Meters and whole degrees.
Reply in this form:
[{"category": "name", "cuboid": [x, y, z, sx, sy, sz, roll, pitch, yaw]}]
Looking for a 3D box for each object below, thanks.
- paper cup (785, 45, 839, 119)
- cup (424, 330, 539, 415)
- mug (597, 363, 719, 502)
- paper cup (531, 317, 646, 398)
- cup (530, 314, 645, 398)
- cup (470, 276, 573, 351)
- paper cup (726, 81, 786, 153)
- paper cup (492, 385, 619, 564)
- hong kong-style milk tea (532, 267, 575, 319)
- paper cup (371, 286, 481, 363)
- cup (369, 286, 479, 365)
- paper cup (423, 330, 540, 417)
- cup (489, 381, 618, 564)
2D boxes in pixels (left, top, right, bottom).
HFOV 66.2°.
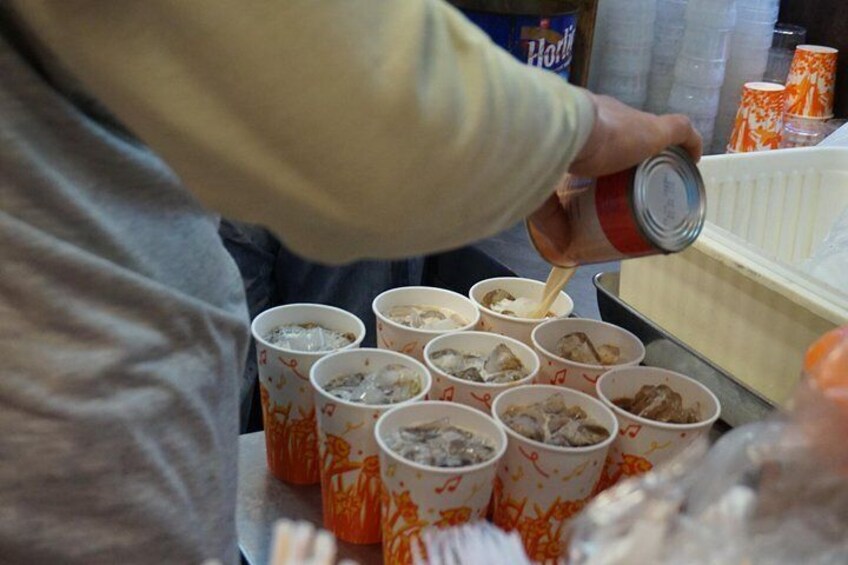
[{"category": "paper cup", "cuboid": [0.925, -0.474, 1.524, 0.114, 0.132, 0.127, 8, 29, 33]}, {"category": "cup", "cuboid": [0.088, 0.102, 0.924, 0.122, 0.097, 0.127, 2, 29, -1]}, {"category": "mug", "cuboid": [0.297, 0.174, 0.933, 0.168, 0.139, 0.172, -17, 34, -40]}, {"category": "paper cup", "cuboid": [0.252, 0.103, 0.997, 0.131, 0.101, 0.132, 2, 30, -1]}, {"category": "cup", "cuboid": [0.252, 0.101, 1.000, 0.131, 0.100, 0.132, 2, 30, -1]}, {"category": "cup", "cuboid": [0.164, 0.037, 1.108, 0.127, 0.101, 0.133, 1, 29, -1]}, {"category": "paper cup", "cuboid": [0.764, -0.369, 1.479, 0.101, 0.138, 0.092, -4, 31, 2]}, {"category": "paper cup", "cuboid": [0.141, 0.255, 0.945, 0.202, 0.243, 0.199, 4, 26, -2]}, {"category": "hong kong-style milk tea", "cuboid": [0.224, 0.020, 1.115, 0.022, 0.107, 0.031, -39, 61, -17]}, {"category": "paper cup", "cuboid": [0.006, 0.025, 1.039, 0.130, 0.103, 0.134, 2, 25, -1]}, {"category": "cup", "cuboid": [-0.005, 0.057, 1.067, 0.130, 0.102, 0.134, 2, 25, -1]}, {"category": "paper cup", "cuboid": [0.086, 0.123, 0.951, 0.123, 0.097, 0.128, 2, 29, -1]}, {"category": "cup", "cuboid": [0.141, 0.253, 0.945, 0.198, 0.240, 0.200, 6, 27, -3]}]
